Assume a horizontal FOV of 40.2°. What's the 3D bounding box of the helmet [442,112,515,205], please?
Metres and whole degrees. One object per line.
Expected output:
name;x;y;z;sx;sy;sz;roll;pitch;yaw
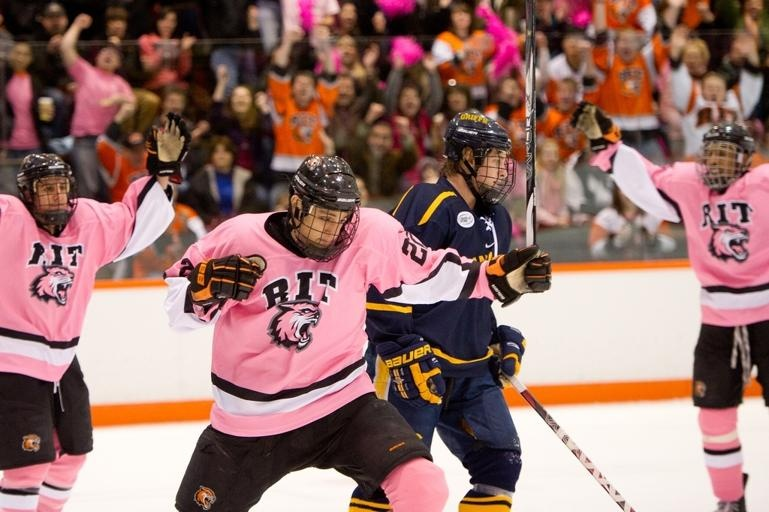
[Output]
helmet;0.661;-0.603;6.401;0.533;0.526;0.382;19;12;5

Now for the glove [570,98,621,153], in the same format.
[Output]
glove;1.326;-0.822;6.675;0.226;0.354;0.180;-40;32;4

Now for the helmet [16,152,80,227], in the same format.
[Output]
helmet;-1.914;-0.368;5.950;0.338;0.473;0.398;-2;-2;-37

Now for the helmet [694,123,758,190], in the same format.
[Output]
helmet;2.040;-0.615;6.594;0.426;0.416;0.319;2;-5;-38

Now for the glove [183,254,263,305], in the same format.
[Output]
glove;-0.813;0.111;5.347;0.344;0.210;0.142;-5;-24;3

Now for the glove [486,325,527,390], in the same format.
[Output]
glove;0.727;0.581;6.235;0.122;0.301;0.298;9;18;-24

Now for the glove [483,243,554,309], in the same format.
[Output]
glove;0.733;0.083;5.604;0.333;0.276;0.159;-14;6;14

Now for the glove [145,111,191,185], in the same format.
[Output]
glove;-1.231;-0.615;6.022;0.259;0.403;0.125;8;24;0
